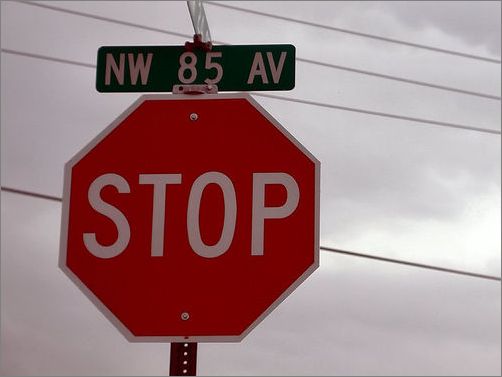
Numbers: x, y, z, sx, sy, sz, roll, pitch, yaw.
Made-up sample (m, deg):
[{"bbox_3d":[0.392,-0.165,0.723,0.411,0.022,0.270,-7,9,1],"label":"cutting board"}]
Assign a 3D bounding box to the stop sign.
[{"bbox_3d":[-0.226,0.121,2.800,0.806,0.115,0.847,1,-96,-2],"label":"stop sign"}]
